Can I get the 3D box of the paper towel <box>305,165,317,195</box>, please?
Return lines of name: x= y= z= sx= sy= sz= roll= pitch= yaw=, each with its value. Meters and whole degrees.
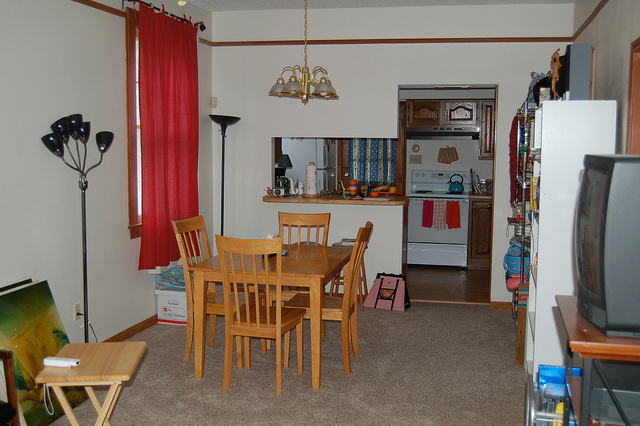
paper towel: x=-0.104 y=-0.434 z=6.292 sx=0.138 sy=0.369 sz=0.248 roll=0 pitch=12 yaw=-2

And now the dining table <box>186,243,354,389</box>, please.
dining table: x=-0.480 y=0.977 z=4.865 sx=1.250 sy=0.964 sz=1.640 roll=-6 pitch=-1 yaw=-2

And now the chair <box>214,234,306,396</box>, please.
chair: x=-0.485 y=0.750 z=4.190 sx=0.708 sy=1.312 sz=0.931 roll=-1 pitch=12 yaw=-8

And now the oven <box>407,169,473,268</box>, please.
oven: x=2.007 y=0.098 z=8.060 sx=1.027 sy=1.435 sz=1.026 roll=1 pitch=-4 yaw=21

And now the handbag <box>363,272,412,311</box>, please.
handbag: x=0.818 y=0.925 z=5.865 sx=0.476 sy=0.402 sz=0.279 roll=5 pitch=2 yaw=23

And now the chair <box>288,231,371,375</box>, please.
chair: x=0.050 y=0.763 z=4.417 sx=0.753 sy=1.148 sz=0.725 roll=-2 pitch=-3 yaw=-6

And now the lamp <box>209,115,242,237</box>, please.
lamp: x=-1.131 y=-0.386 z=5.804 sx=0.363 sy=1.461 sz=0.345 roll=6 pitch=9 yaw=25
